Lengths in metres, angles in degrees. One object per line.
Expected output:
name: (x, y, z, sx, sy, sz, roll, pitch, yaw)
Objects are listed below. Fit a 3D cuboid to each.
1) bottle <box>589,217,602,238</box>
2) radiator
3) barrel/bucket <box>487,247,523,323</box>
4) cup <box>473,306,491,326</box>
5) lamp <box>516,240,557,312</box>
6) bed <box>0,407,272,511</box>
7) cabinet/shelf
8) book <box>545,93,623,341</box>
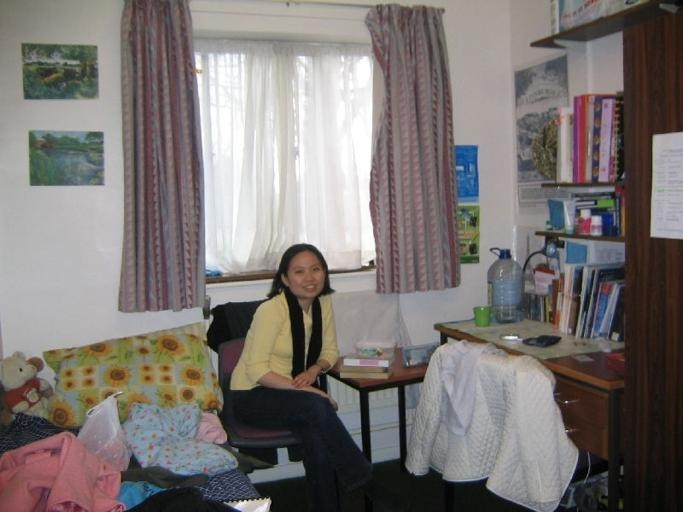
bottle: (1.377, -0.162, 2.994, 0.057, 0.109, 0.086, -1, 9, 24)
radiator: (0.171, 0.608, 3.628, 0.646, 0.713, 0.169, 1, -1, -15)
barrel/bucket: (1.086, 0.201, 3.672, 0.290, 0.507, 0.304, 0, -2, 0)
cup: (0.883, 0.380, 3.473, 0.100, 0.109, 0.117, -1, -5, 14)
lamp: (1.236, 0.123, 3.505, 0.215, 0.173, 0.549, 3, 46, 25)
bed: (-1.025, 0.916, 2.489, 1.345, 0.377, 0.486, -4, 8, 7)
cabinet/shelf: (1.333, -0.258, 3.116, 0.479, 0.236, 0.146, 0, 4, 11)
book: (1.399, -0.223, 3.129, 0.446, 1.327, 0.559, -11, 10, -39)
